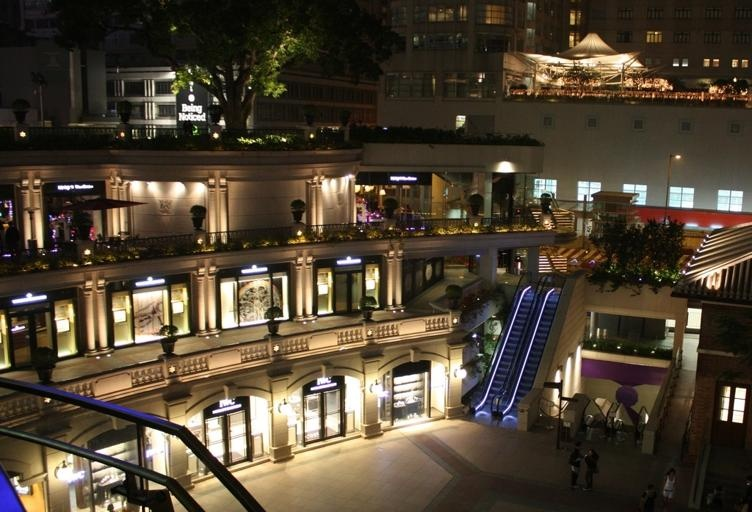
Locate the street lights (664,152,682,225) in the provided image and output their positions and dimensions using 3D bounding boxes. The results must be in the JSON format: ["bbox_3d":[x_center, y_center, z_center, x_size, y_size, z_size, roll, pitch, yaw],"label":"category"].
[{"bbox_3d":[27.309,-7.079,76.433,0.918,4.905,0.742,2,7,-1],"label":"street lights"}]

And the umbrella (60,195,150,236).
[{"bbox_3d":[-15.386,-2.150,47.329,4.064,2.378,3.787,-6,-3,-19],"label":"umbrella"}]
